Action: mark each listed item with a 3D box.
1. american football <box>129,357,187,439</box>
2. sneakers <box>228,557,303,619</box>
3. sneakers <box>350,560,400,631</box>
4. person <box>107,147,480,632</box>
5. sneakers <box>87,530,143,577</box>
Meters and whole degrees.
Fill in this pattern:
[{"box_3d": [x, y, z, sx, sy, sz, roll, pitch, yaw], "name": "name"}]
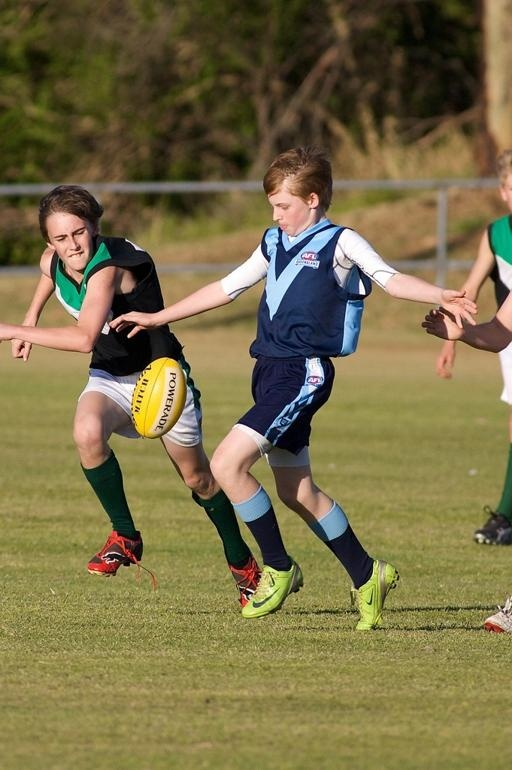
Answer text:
[{"box_3d": [-0.363, 0.045, 3.640, 0.200, 0.287, 0.214, 32, -14, -23], "name": "american football"}, {"box_3d": [0.052, 0.695, 3.446, 0.306, 0.147, 0.113, -38, 31, -24], "name": "sneakers"}, {"box_3d": [0.425, 0.721, 3.395, 0.174, 0.260, 0.097, 15, -5, -7], "name": "sneakers"}, {"box_3d": [0.106, 0.005, 3.335, 1.095, 1.675, 0.622, 2, 5, 13], "name": "person"}, {"box_3d": [-0.533, 0.647, 3.757, 0.114, 0.142, 0.315, 5, 12, 42], "name": "sneakers"}]
